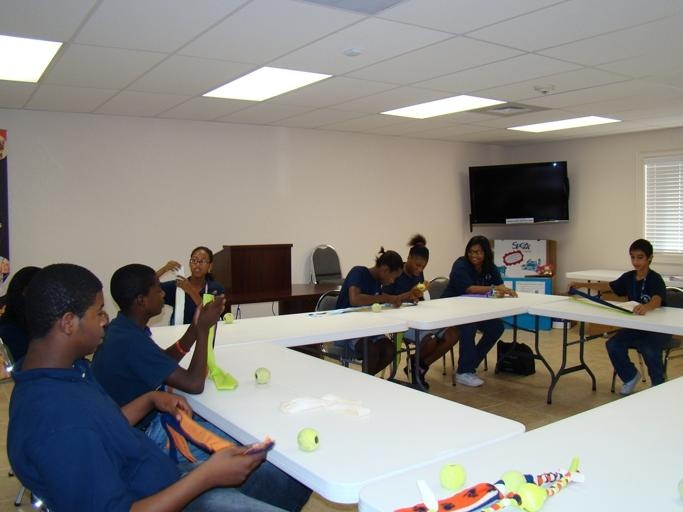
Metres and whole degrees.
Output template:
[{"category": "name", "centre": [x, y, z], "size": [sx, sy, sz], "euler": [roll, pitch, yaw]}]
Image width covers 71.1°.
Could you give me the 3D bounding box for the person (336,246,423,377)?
[{"category": "person", "centre": [0.275, 0.626, 4.284], "size": [0.739, 1.359, 0.551], "euler": [6, -5, 29]}]

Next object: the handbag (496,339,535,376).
[{"category": "handbag", "centre": [1.894, 1.122, 5.220], "size": [0.381, 0.367, 0.204], "euler": [4, 7, 44]}]

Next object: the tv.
[{"category": "tv", "centre": [3.085, -1.073, 8.233], "size": [1.134, 0.829, 0.163], "euler": [-1, 2, 13]}]

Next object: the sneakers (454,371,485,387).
[{"category": "sneakers", "centre": [1.322, 1.264, 4.937], "size": [0.289, 0.130, 0.124], "euler": [0, 5, 28]}]

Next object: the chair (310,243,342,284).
[{"category": "chair", "centre": [-0.381, 0.142, 7.327], "size": [0.509, 0.694, 0.507], "euler": [-2, 0, -22]}]
